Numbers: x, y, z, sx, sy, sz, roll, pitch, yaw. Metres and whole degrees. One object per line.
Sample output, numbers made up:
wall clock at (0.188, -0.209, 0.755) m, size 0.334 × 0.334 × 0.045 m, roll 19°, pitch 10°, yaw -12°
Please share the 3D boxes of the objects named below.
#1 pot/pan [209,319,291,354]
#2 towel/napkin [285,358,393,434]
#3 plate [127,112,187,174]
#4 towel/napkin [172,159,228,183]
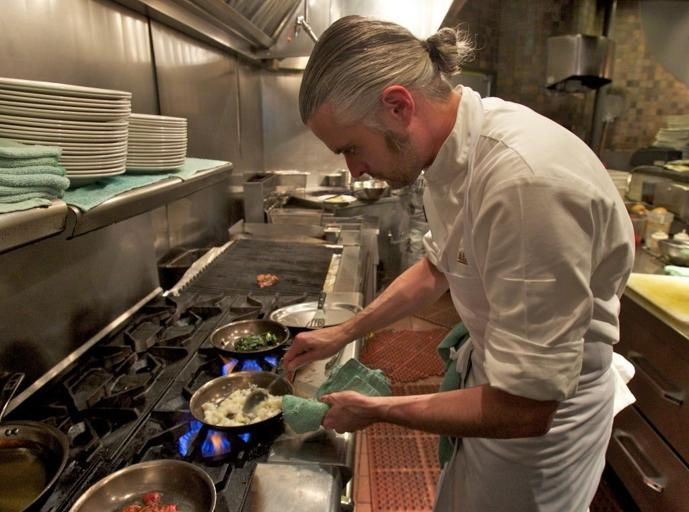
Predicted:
pot/pan at (-0.336, 0.300, 1.636) m, size 0.268 × 0.057 × 0.255 m, roll -8°, pitch 11°, yaw -6°
towel/napkin at (-0.019, 0.415, 1.317) m, size 0.234 × 0.096 × 0.176 m, roll -32°, pitch 23°, yaw -17°
plate at (-0.628, -0.379, 1.536) m, size 0.101 × 0.187 × 0.297 m, roll 10°, pitch 18°, yaw 23°
towel/napkin at (-0.546, -0.334, 1.732) m, size 0.176 × 0.020 × 0.186 m, roll -5°, pitch 22°, yaw -26°
